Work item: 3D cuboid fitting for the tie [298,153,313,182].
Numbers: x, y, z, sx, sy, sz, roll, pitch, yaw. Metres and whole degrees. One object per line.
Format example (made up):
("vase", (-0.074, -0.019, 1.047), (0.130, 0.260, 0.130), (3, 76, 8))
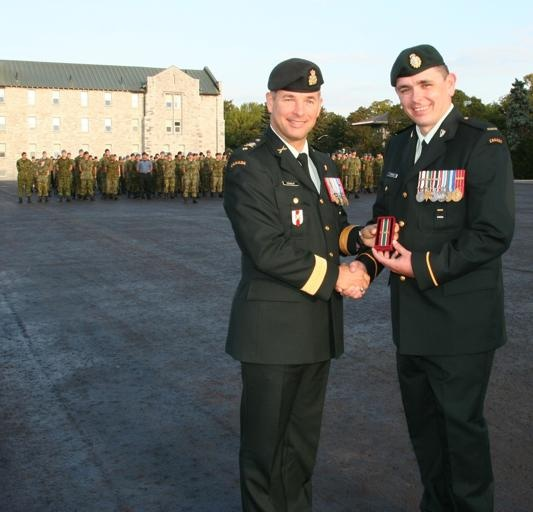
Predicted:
("tie", (0.171, -0.390, 2.811), (0.040, 0.132, 0.037), (-1, -29, -15))

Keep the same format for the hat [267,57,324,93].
("hat", (0.135, -0.803, 2.767), (0.263, 0.123, 0.261), (-11, 29, -18))
